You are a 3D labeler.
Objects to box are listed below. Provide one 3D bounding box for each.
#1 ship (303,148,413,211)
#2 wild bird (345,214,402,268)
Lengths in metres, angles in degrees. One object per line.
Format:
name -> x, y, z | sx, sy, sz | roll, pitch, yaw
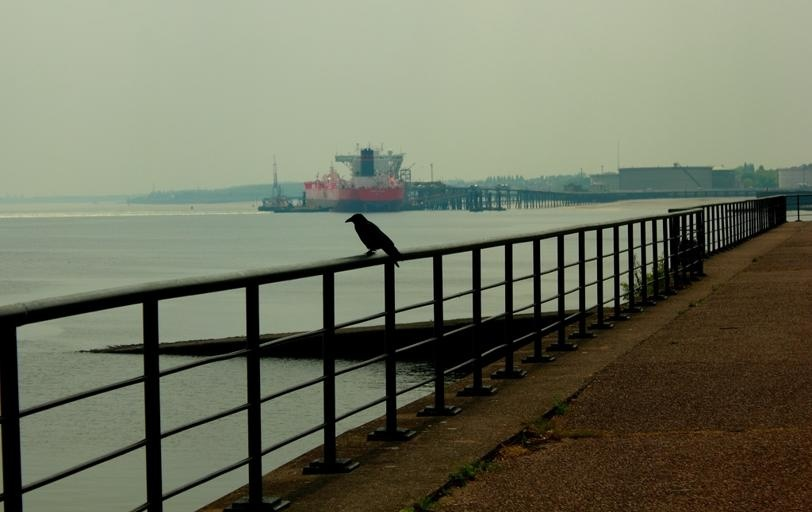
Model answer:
ship -> -8.406, -11.688, 213.442 | 14.453, 10.771, 42.867 | -3, 7, -5
wild bird -> -0.396, -0.214, 16.915 | 1.051, 0.583, 0.337 | 12, -9, -7
